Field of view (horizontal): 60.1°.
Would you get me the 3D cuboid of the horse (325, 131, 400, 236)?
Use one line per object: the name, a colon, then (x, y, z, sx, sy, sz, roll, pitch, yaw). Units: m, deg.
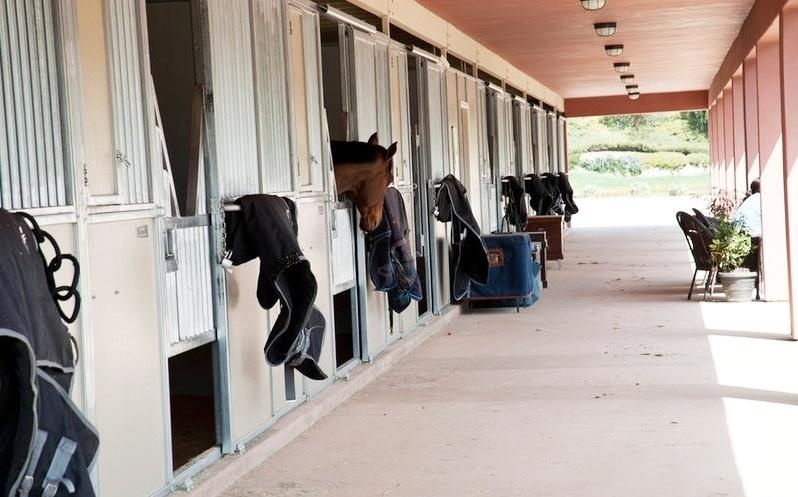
horse: (-0.312, -0.537, 6.116, 0.548, 0.824, 0.459, -3, 8, -4)

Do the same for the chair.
chair: (4.139, 0.039, 8.939, 1.094, 1.477, 1.124, -3, 4, 3)

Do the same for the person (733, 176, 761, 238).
person: (4.881, -0.650, 9.416, 0.286, 0.294, 0.900, 25, -8, 24)

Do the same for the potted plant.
potted plant: (4.077, -0.010, 8.377, 0.634, 1.239, 0.580, -7, 0, -16)
